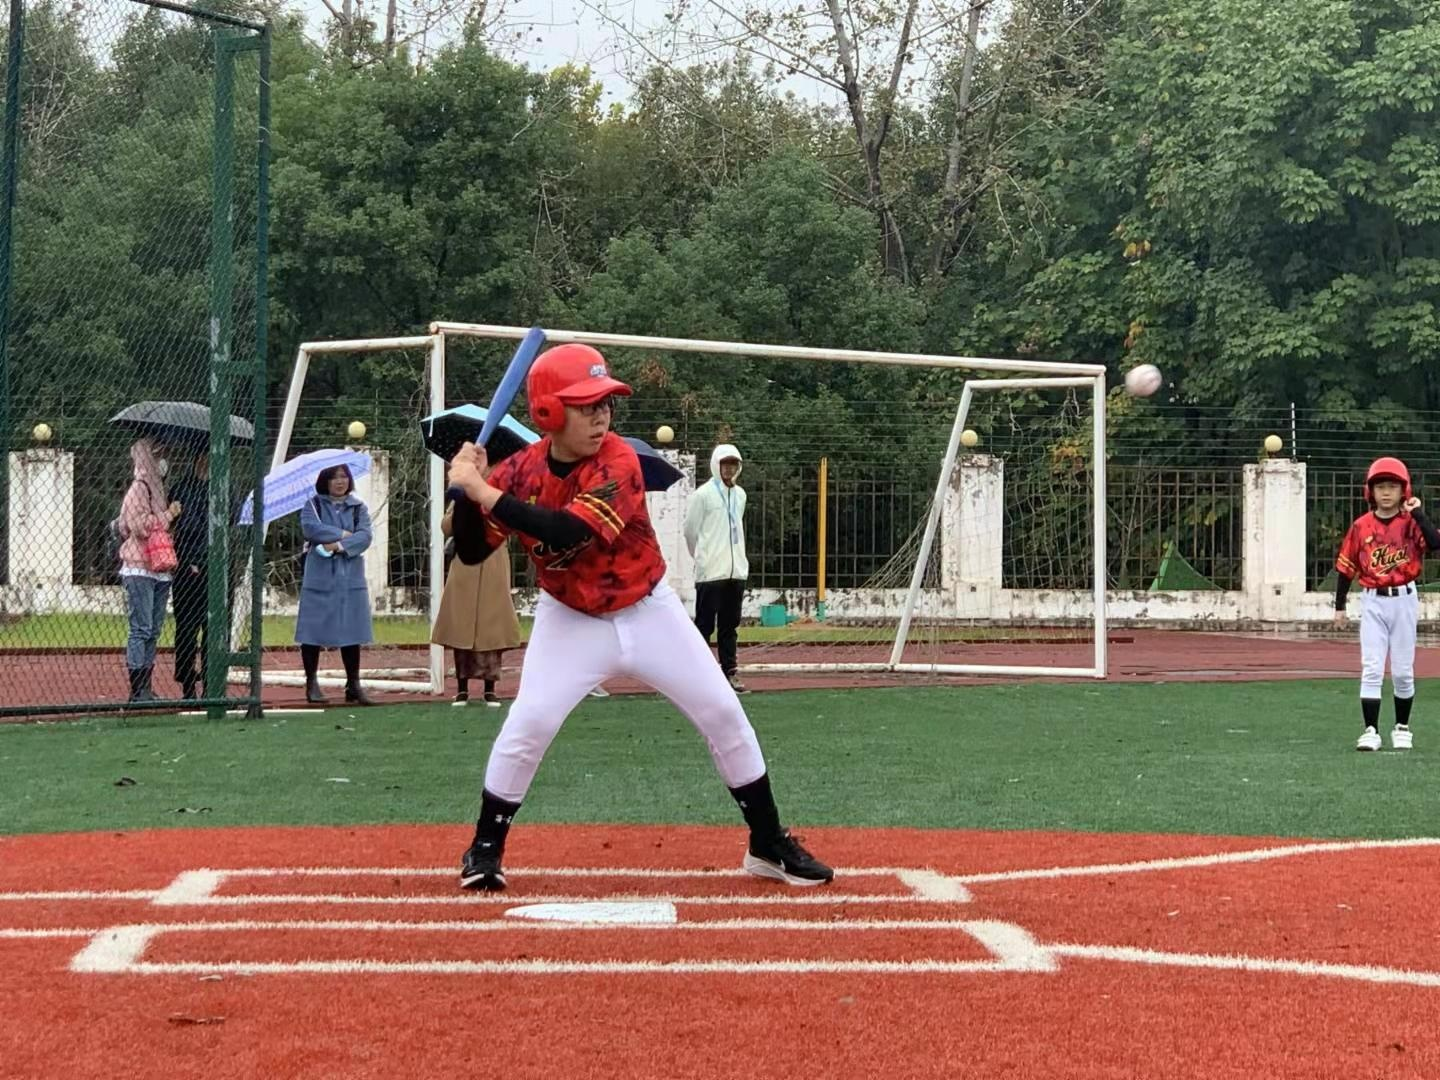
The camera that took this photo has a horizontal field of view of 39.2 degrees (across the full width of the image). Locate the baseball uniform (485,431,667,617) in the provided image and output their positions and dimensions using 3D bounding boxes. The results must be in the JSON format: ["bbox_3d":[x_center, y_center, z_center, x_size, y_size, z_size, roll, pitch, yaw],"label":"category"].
[{"bbox_3d":[-0.773,-0.093,10.963,0.809,1.012,0.689,8,31,32],"label":"baseball uniform"}]

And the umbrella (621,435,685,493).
[{"bbox_3d":[-0.389,-0.417,11.632,0.350,0.124,0.350,11,-36,-11],"label":"umbrella"}]

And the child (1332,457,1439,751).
[{"bbox_3d":[4.892,0.469,14.907,0.642,2.042,0.997,3,10,13],"label":"child"}]

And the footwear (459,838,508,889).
[{"bbox_3d":[-1.274,1.787,10.929,0.146,0.167,0.347,3,-2,-12],"label":"footwear"}]

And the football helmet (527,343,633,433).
[{"bbox_3d":[-0.771,-0.792,10.811,0.527,0.462,0.313,-1,9,-7],"label":"football helmet"}]

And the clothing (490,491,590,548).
[{"bbox_3d":[-0.937,-0.085,10.551,0.337,0.114,0.344,19,0,13],"label":"clothing"}]

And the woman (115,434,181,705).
[{"bbox_3d":[-4.581,0.258,16.205,0.448,2.094,0.541,-3,10,-18],"label":"woman"}]

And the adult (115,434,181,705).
[{"bbox_3d":[-4.582,0.258,16.207,0.449,2.094,0.545,-3,10,-17],"label":"adult"}]

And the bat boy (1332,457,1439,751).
[{"bbox_3d":[4.893,0.469,14.911,0.642,2.042,0.989,3,10,13],"label":"bat boy"}]
